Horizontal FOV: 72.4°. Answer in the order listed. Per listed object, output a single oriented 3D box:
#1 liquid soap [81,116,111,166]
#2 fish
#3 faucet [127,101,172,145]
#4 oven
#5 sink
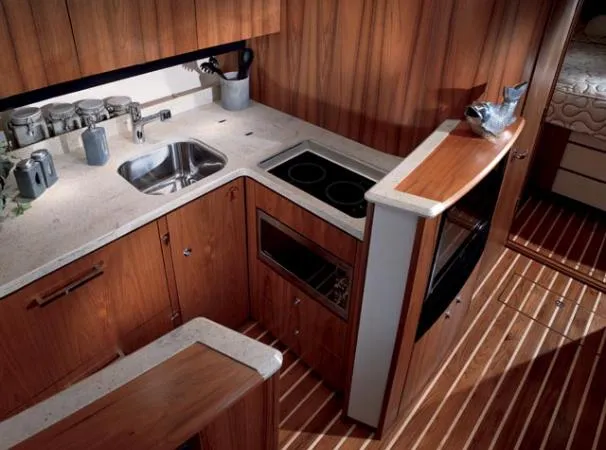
[{"bbox_3d":[-1.080,-0.428,2.143,0.123,0.220,0.129,-14,36,-27],"label":"liquid soap"},{"bbox_3d":[0.863,-0.508,1.928,0.343,0.170,0.190,-37,49,-18],"label":"fish"},{"bbox_3d":[-0.865,-0.567,2.322,0.228,0.234,0.072,-5,39,-14],"label":"faucet"},{"bbox_3d":[0.011,0.209,2.161,0.396,0.546,0.509,-18,35,-34],"label":"oven"},{"bbox_3d":[-0.763,-0.336,2.340,0.444,0.181,0.353,-33,57,-32],"label":"sink"}]
